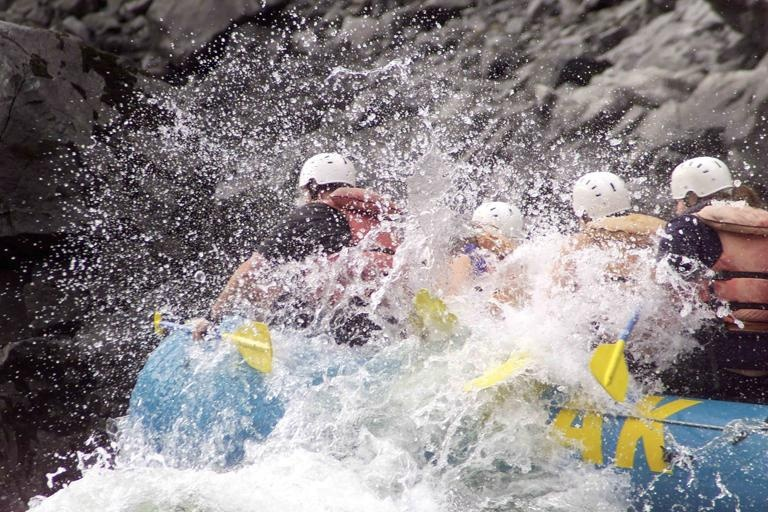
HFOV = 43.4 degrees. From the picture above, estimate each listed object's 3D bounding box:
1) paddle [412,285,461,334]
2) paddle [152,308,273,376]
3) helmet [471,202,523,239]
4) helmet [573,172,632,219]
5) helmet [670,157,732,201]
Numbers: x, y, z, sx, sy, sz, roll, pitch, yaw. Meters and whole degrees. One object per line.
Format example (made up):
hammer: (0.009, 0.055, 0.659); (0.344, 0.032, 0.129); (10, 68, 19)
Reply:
paddle: (0.415, 0.460, 8.028); (0.270, 0.093, 0.394); (-35, 98, 15)
paddle: (-1.452, 0.703, 8.305); (1.307, 0.351, 0.431); (9, 95, 37)
helmet: (1.030, -0.337, 8.803); (0.440, 0.300, 0.324); (6, 103, -10)
helmet: (1.963, -0.540, 8.714); (0.392, 0.490, 0.378); (-22, 110, -12)
helmet: (2.781, -0.649, 8.630); (0.465, 0.366, 0.353); (-22, 89, 38)
